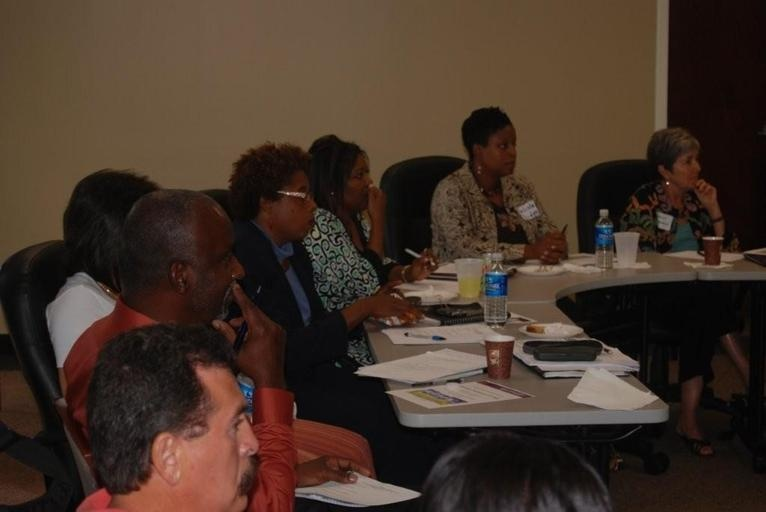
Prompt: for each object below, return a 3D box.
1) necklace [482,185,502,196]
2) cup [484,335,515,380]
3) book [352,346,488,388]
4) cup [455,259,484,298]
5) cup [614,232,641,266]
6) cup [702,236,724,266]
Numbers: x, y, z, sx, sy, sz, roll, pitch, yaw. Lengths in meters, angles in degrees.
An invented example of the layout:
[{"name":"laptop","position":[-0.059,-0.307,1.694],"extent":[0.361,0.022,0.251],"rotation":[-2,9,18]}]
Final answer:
[{"name":"necklace","position":[0.720,-0.422,4.004],"extent":[0.079,0.042,0.104],"rotation":[-1,0,-6]},{"name":"cup","position":[0.374,0.325,1.972],"extent":[0.122,0.133,0.127],"rotation":[0,-2,0]},{"name":"book","position":[0.145,0.379,2.101],"extent":[0.219,0.028,0.198],"rotation":[-12,6,-21]},{"name":"cup","position":[0.404,0.106,2.874],"extent":[0.157,0.183,0.166],"rotation":[-1,0,0]},{"name":"cup","position":[1.337,-0.036,3.442],"extent":[0.167,0.188,0.170],"rotation":[-1,0,0]},{"name":"cup","position":[1.735,-0.020,3.292],"extent":[0.144,0.160,0.141],"rotation":[0,-2,0]}]
